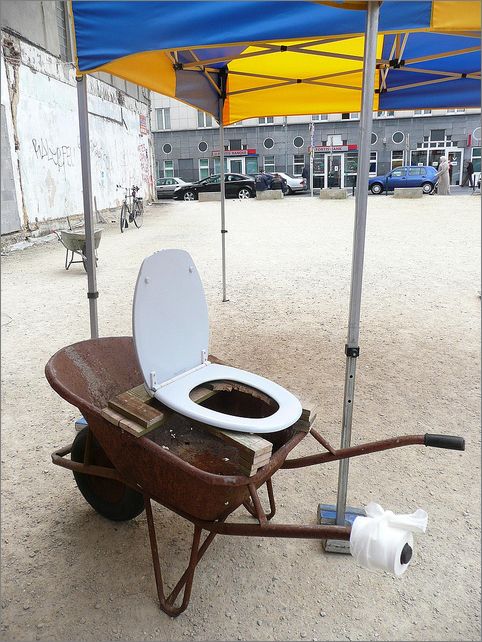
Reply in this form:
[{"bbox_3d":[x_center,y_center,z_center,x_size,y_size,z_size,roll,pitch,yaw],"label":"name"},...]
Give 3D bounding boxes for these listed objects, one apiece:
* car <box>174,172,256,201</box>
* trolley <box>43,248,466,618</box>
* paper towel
[{"bbox_3d":[-0.899,-6.653,24.063,5.197,1.722,2.450,4,16,12],"label":"car"},{"bbox_3d":[-0.139,0.392,1.694,1.503,1.192,0.723,15,23,41],"label":"trolley"},{"bbox_3d":[0.361,0.555,1.203,0.148,0.176,0.167,15,23,41],"label":"paper towel"}]
